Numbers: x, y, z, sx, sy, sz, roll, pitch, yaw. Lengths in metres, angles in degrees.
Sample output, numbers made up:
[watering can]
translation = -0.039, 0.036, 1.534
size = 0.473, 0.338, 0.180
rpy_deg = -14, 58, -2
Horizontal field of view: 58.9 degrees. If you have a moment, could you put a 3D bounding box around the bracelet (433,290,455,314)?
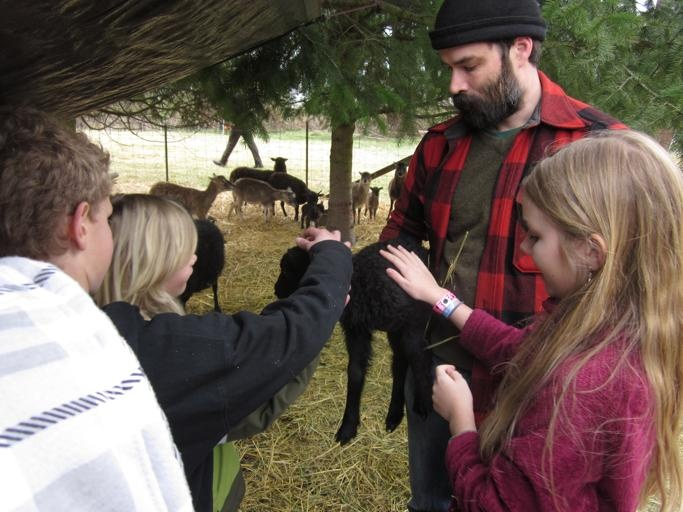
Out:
[bracelet]
translation = 0.407, 0.188, 2.358
size = 0.056, 0.090, 0.096
rpy_deg = 47, -7, 11
